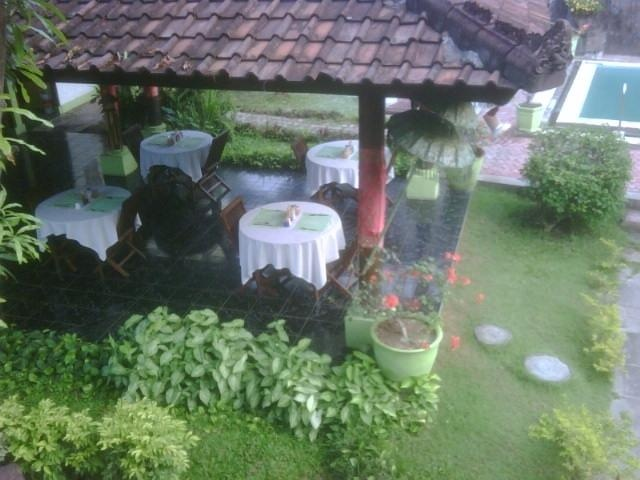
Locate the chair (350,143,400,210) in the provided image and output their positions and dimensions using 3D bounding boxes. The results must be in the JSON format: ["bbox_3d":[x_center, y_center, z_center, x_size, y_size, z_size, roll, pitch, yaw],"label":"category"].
[{"bbox_3d":[1.048,-1.428,10.473,1.126,1.653,0.976,3,57,4],"label":"chair"}]

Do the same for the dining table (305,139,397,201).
[{"bbox_3d":[0.286,-1.596,10.603,1.438,0.846,1.723,1,42,-6],"label":"dining table"}]

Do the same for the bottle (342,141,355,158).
[{"bbox_3d":[0.560,-1.775,10.216,0.129,0.193,0.518,5,41,4],"label":"bottle"}]

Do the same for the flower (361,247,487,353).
[{"bbox_3d":[1.329,0.738,7.589,1.430,0.851,1.248,-2,33,1],"label":"flower"}]

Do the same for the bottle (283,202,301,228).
[{"bbox_3d":[-0.442,-0.367,7.923,0.140,0.218,0.505,3,22,6],"label":"bottle"}]

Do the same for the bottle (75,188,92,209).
[{"bbox_3d":[-3.956,-0.676,8.586,0.159,0.205,0.313,6,-1,-20],"label":"bottle"}]

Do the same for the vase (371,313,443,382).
[{"bbox_3d":[1.054,1.337,6.509,0.856,0.639,0.642,12,27,9],"label":"vase"}]

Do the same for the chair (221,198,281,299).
[{"bbox_3d":[-0.975,0.086,8.551,0.919,1.531,1.082,-3,23,8],"label":"chair"}]

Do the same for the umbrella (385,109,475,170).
[{"bbox_3d":[1.161,-1.033,5.430,0.706,0.386,0.716,25,32,-1],"label":"umbrella"}]

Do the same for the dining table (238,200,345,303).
[{"bbox_3d":[-0.462,0.154,8.001,1.605,1.249,1.055,7,26,0],"label":"dining table"}]

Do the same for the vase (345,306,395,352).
[{"bbox_3d":[0.612,1.154,7.064,0.477,0.570,0.542,4,35,7],"label":"vase"}]
